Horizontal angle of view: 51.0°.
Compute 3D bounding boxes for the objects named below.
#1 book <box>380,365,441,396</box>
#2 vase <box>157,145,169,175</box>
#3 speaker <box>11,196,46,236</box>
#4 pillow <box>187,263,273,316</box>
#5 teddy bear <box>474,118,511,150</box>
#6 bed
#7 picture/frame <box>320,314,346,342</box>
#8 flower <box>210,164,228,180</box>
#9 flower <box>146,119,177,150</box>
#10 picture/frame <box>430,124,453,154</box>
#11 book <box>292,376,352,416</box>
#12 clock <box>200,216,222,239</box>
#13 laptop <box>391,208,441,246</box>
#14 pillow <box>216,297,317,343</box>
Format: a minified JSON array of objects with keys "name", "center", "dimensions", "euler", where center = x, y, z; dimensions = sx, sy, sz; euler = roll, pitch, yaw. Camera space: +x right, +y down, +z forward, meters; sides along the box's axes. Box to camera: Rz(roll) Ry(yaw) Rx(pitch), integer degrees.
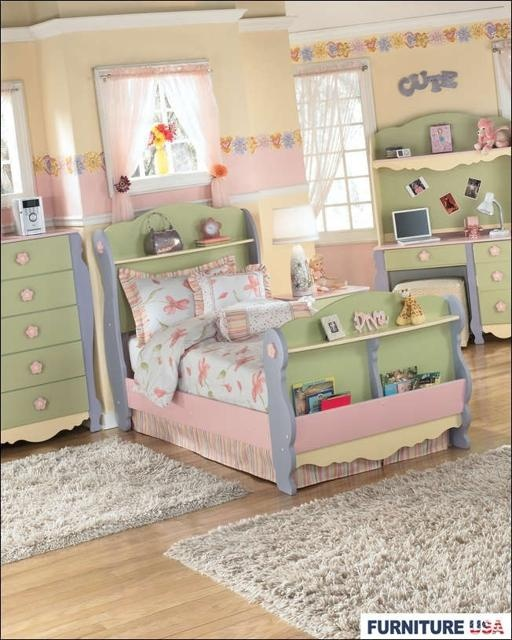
[{"name":"book","center":[0.834,0.320,2.883],"dimensions":[0.401,0.125,0.035],"euler":[-8,7,-26]},{"name":"vase","center":[-0.759,-1.288,4.318],"dimensions":[0.124,0.211,0.071],"euler":[-7,-2,-30]},{"name":"speaker","center":[-1.656,-0.737,3.858],"dimensions":[0.207,0.276,0.121],"euler":[-8,7,-12]},{"name":"pillow","center":[-0.175,-0.247,3.861],"dimensions":[0.466,0.340,0.131],"euler":[-7,-25,-18]},{"name":"teddy bear","center":[2.271,-1.844,5.364],"dimensions":[0.530,0.329,0.201],"euler":[-10,12,-26]},{"name":"bed","center":[0.099,0.016,3.520],"dimensions":[1.511,1.394,2.105],"euler":[-9,13,-26]},{"name":"picture/frame","center":[0.368,0.043,2.593],"dimensions":[0.116,0.104,0.061],"euler":[-18,15,-35]},{"name":"flower","center":[-0.309,-1.206,4.345],"dimensions":[0.130,0.127,0.118],"euler":[-8,6,-15]},{"name":"flower","center":[-0.757,-1.482,4.276],"dimensions":[0.212,0.180,0.122],"euler":[-8,-7,-12]},{"name":"picture/frame","center":[1.946,-1.898,5.605],"dimensions":[0.233,0.305,0.093],"euler":[-4,7,19]},{"name":"book","center":[0.301,0.381,2.612],"dimensions":[0.208,0.191,0.046],"euler":[-11,9,-23]},{"name":"clock","center":[-0.358,-0.724,4.238],"dimensions":[0.170,0.151,0.043],"euler":[-10,3,-25]},{"name":"laptop","center":[1.704,-1.000,5.751],"dimensions":[0.518,0.370,0.396],"euler":[-5,11,-8]},{"name":"pillow","center":[0.027,-0.012,3.410],"dimensions":[0.383,0.129,0.374],"euler":[-9,6,-43]}]
